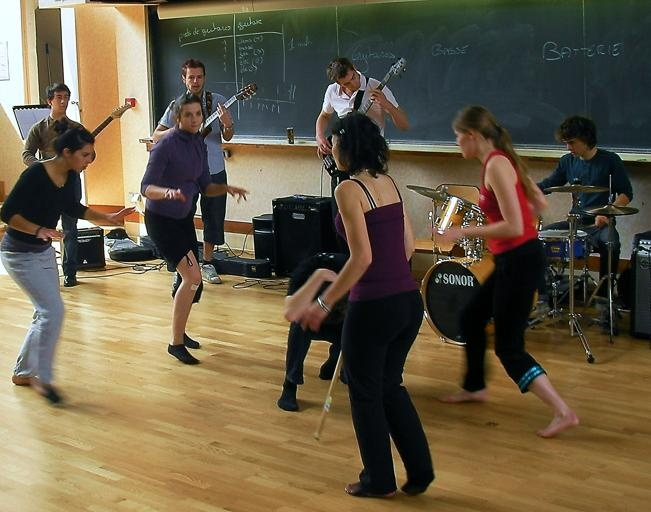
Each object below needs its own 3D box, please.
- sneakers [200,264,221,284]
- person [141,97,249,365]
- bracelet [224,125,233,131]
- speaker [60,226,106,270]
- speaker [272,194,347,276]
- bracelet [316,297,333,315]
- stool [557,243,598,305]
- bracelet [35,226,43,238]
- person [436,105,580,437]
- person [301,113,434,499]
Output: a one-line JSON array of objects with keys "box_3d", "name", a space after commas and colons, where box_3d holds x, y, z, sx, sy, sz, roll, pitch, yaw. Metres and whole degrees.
[{"box_3d": [-1.292, 0.196, 5.979, 0.119, 0.142, 0.357, -5, 7, -26], "name": "sneakers"}, {"box_3d": [-0.972, -0.177, 3.744, 0.518, 1.891, 0.588, 5, 11, 31], "name": "person"}, {"box_3d": [-1.041, -1.383, 5.730, 0.050, 0.029, 0.069, 6, 10, 37], "name": "bracelet"}, {"box_3d": [-2.839, -0.114, 6.419, 0.404, 0.568, 0.446, -2, 17, -14], "name": "speaker"}, {"box_3d": [-0.196, -0.284, 6.112, 0.811, 1.116, 0.859, 2, 8, 28], "name": "speaker"}, {"box_3d": [-0.005, 0.171, 1.815, 0.056, 0.022, 0.046, 43, -1, 10], "name": "bracelet"}, {"box_3d": [2.070, 0.095, 4.337, 0.330, 0.446, 0.320, -4, -2, 16], "name": "stool"}, {"box_3d": [-1.615, -0.135, 3.003, 0.036, 0.071, 0.115, -5, 11, -28], "name": "bracelet"}, {"box_3d": [0.940, 0.097, 2.700, 0.638, 1.684, 0.742, 2, 10, 16], "name": "person"}, {"box_3d": [0.144, 0.264, 1.940, 0.389, 1.541, 0.473, 5, 11, 30], "name": "person"}]
